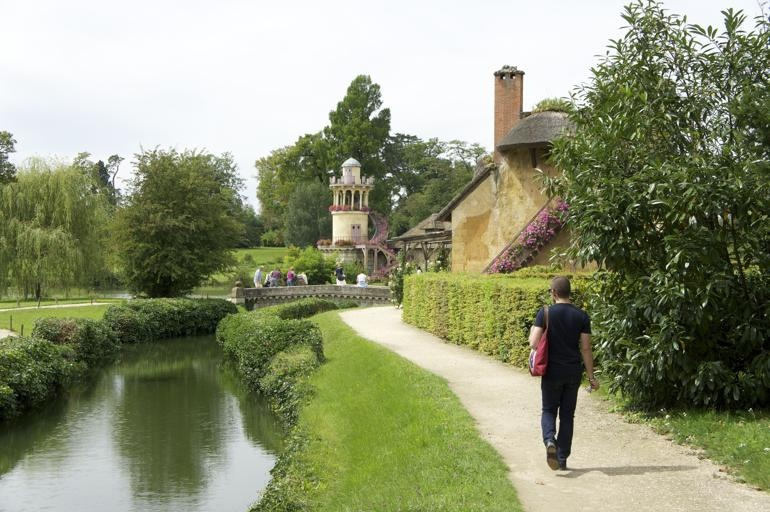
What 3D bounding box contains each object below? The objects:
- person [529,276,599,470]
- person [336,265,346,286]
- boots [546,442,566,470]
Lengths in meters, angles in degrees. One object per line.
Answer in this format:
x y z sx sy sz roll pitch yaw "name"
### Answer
2.958 1.935 12.496 0.864 3.211 0.857 -2 -4 37 "person"
-2.968 1.278 49.754 0.477 1.212 1.363 1 -4 -7 "person"
2.790 3.306 12.326 0.234 0.550 0.219 -15 16 6 "boots"
